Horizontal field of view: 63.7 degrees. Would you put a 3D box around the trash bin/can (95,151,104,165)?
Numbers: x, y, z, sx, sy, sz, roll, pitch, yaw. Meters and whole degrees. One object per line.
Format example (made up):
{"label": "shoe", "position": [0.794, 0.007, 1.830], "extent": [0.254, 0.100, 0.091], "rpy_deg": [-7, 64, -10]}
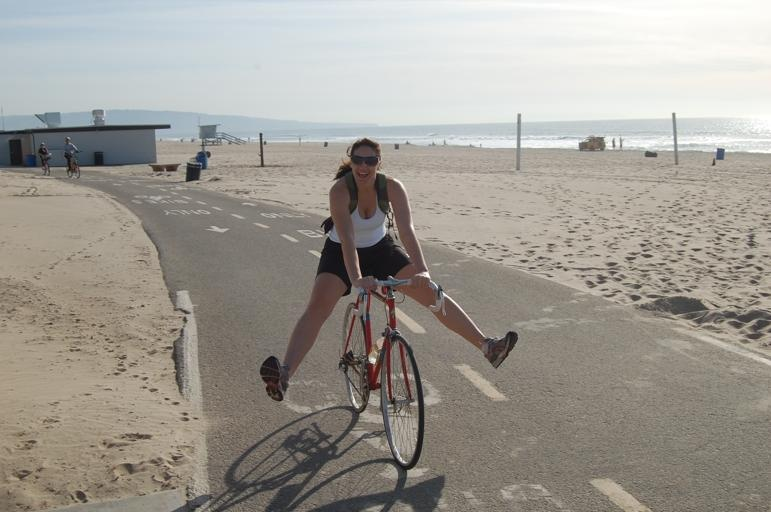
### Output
{"label": "trash bin/can", "position": [-22.957, -7.845, 49.566], "extent": [0.719, 1.030, 0.627], "rpy_deg": [-2, 9, -22]}

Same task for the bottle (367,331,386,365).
{"label": "bottle", "position": [-0.078, 0.785, 5.266], "extent": [0.091, 0.210, 0.233], "rpy_deg": [25, -14, -20]}

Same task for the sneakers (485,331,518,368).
{"label": "sneakers", "position": [0.949, 0.767, 5.187], "extent": [0.257, 0.301, 0.161], "rpy_deg": [2, 9, 3]}

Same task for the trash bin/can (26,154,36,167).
{"label": "trash bin/can", "position": [-27.222, -7.331, 47.602], "extent": [0.730, 0.926, 0.749], "rpy_deg": [-5, 10, -35]}
